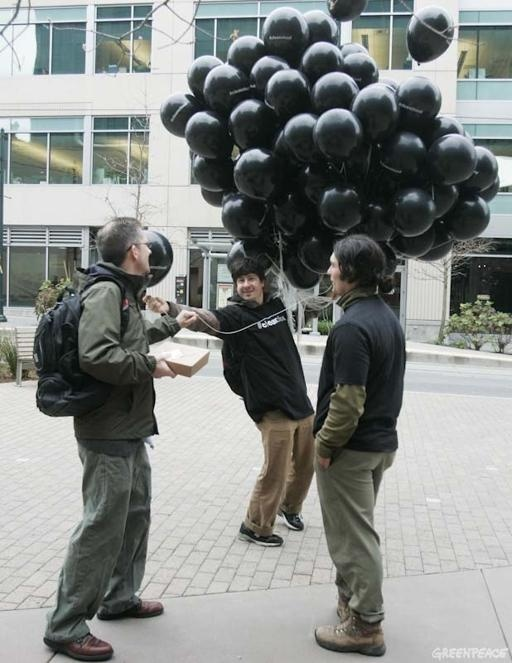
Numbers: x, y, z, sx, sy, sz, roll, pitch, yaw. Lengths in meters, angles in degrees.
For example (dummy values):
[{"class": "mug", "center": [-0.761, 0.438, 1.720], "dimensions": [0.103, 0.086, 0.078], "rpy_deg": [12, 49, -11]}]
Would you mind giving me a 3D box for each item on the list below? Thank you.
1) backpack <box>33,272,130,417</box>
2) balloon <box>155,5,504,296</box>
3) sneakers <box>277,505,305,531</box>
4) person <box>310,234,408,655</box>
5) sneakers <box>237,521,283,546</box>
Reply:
[{"class": "backpack", "center": [-0.739, 0.029, 2.452], "dimensions": [0.347, 0.598, 0.430], "rpy_deg": [0, 6, -27]}, {"class": "balloon", "center": [0.548, -1.292, 3.842], "dimensions": [1.774, 1.215, 1.923], "rpy_deg": [1, 2, 14]}, {"class": "sneakers", "center": [0.258, 1.343, 4.154], "dimensions": [0.079, 0.095, 0.228], "rpy_deg": [11, -5, -34]}, {"class": "person", "center": [0.443, 0.464, 2.615], "dimensions": [0.395, 1.812, 0.494], "rpy_deg": [3, 4, 14]}, {"class": "sneakers", "center": [0.041, 1.349, 3.857], "dimensions": [0.321, 0.141, 0.108], "rpy_deg": [3, 3, 16]}]
